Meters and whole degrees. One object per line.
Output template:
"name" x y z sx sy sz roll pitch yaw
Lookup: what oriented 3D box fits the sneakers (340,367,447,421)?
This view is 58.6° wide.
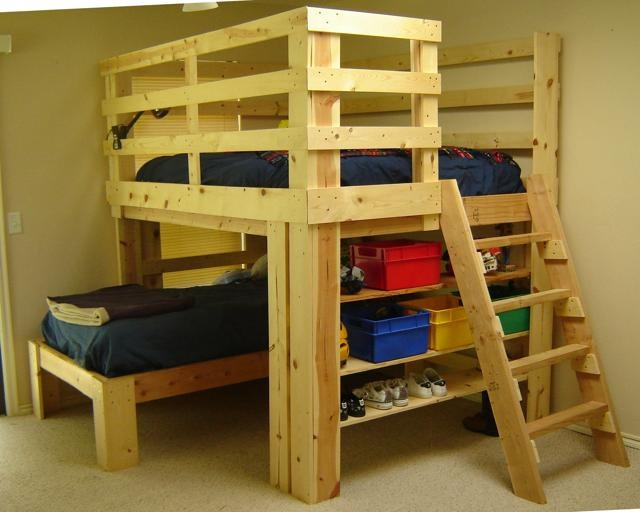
"sneakers" 0.360 0.719 2.965 0.273 0.102 0.342 -2 -3 -28

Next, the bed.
"bed" -0.554 0.277 4.080 2.597 1.338 1.827 -8 3 -38
